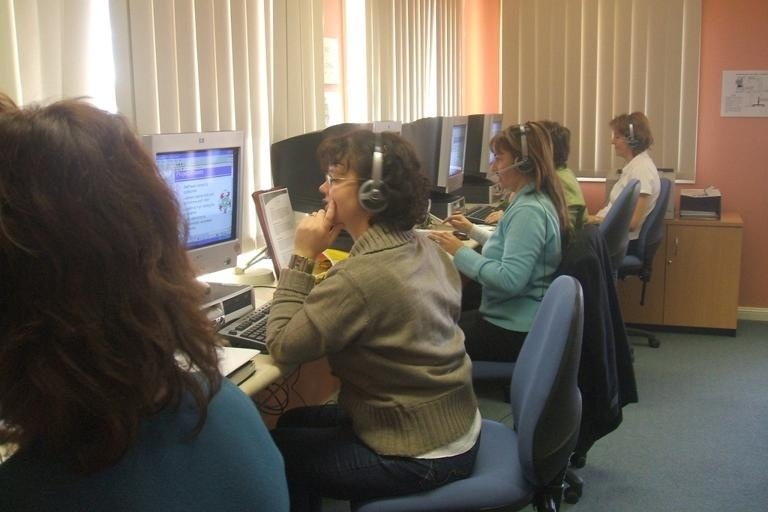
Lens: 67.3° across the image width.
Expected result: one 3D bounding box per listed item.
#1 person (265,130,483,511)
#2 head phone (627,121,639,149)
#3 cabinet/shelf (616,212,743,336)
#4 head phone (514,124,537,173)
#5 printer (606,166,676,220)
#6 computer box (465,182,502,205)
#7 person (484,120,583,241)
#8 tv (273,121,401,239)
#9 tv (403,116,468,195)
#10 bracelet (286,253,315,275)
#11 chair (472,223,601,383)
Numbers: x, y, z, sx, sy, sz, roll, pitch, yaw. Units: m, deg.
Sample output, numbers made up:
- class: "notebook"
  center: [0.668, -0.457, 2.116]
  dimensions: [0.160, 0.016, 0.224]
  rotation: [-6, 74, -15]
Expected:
- class: "person"
  center: [-0.028, 0.179, 1.685]
  dimensions: [0.599, 1.062, 0.461]
  rotation: [0, 13, 9]
- class: "head phone"
  center: [1.724, -0.853, 4.015]
  dimensions: [0.061, 0.148, 0.158]
  rotation: [-4, -11, 13]
- class: "cabinet/shelf"
  center: [2.150, 0.183, 4.325]
  dimensions: [0.854, 0.807, 0.467]
  rotation: [0, -9, 43]
- class: "head phone"
  center: [0.625, -0.474, 2.567]
  dimensions: [0.095, 0.272, 0.204]
  rotation: [-3, 3, 5]
- class: "printer"
  center: [1.817, -0.508, 4.183]
  dimensions: [0.508, 0.518, 0.371]
  rotation: [1, 2, 33]
- class: "computer box"
  center: [0.713, -0.468, 4.290]
  dimensions: [0.168, 0.117, 0.240]
  rotation: [6, 13, 21]
- class: "person"
  center: [0.827, -0.512, 3.487]
  dimensions: [0.712, 0.847, 0.529]
  rotation: [3, 10, 13]
- class: "tv"
  center: [-0.254, -0.346, 2.988]
  dimensions: [0.568, 0.560, 0.579]
  rotation: [1, 5, 3]
- class: "tv"
  center: [0.282, -0.560, 3.119]
  dimensions: [0.344, 0.494, 0.663]
  rotation: [3, 12, 16]
- class: "bracelet"
  center: [-0.264, 0.021, 1.805]
  dimensions: [0.075, 0.050, 0.073]
  rotation: [8, 4, -38]
- class: "chair"
  center: [0.505, 0.144, 2.573]
  dimensions: [0.582, 0.759, 0.527]
  rotation: [10, 8, 3]
